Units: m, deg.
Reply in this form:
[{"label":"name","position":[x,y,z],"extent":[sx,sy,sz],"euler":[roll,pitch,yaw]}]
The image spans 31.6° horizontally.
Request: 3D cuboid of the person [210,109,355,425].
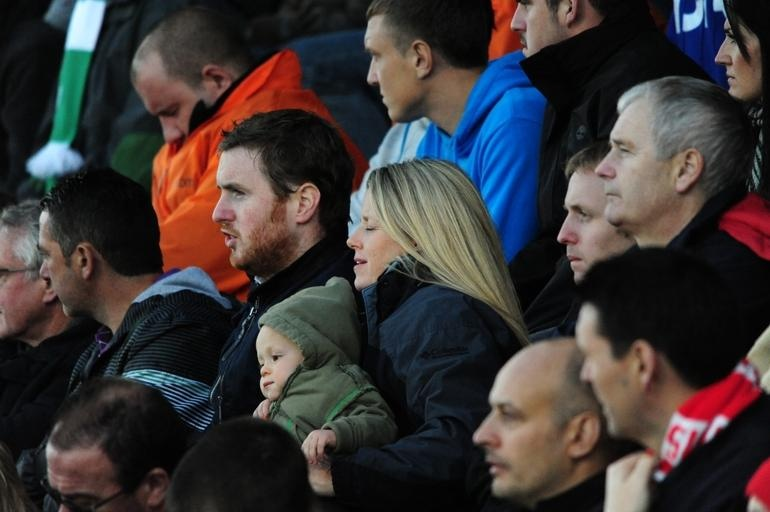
[{"label":"person","position":[-0.485,0.065,6.607],"extent":[0.742,1.528,1.500],"euler":[2,-11,-10]}]
